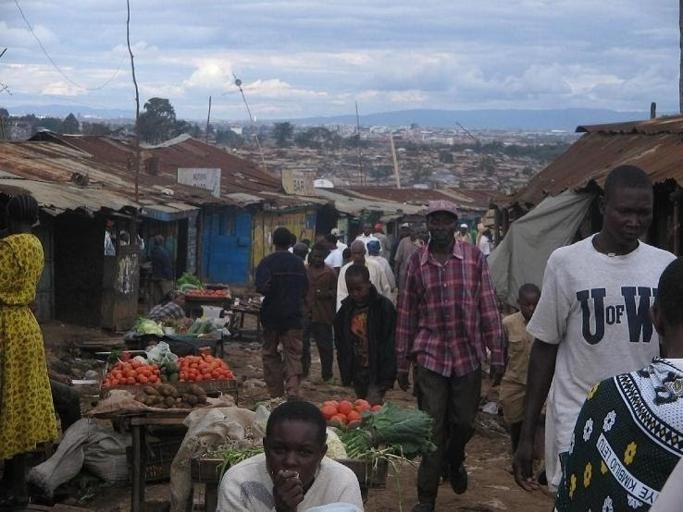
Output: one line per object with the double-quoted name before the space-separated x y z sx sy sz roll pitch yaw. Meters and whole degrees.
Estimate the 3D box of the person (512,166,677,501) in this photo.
"person" 1.278 0.352 4.105 0.837 1.819 1.134 8 10 3

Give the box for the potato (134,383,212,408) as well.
"potato" -1.429 1.180 6.112 0.579 0.162 0.467 1 1 -16

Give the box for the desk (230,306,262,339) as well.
"desk" -1.901 1.324 14.163 0.769 0.691 0.750 0 0 5

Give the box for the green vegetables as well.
"green vegetables" 0.306 1.217 4.965 0.679 0.338 0.325 0 2 -36
